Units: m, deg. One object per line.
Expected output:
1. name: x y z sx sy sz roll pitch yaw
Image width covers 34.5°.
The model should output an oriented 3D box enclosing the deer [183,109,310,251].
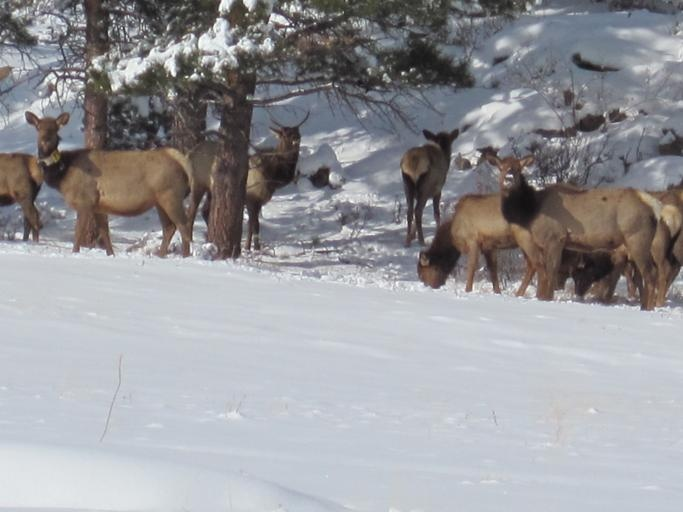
1. deer: -1.902 -1.655 23.423 3.135 3.076 1.039 1 10 27
